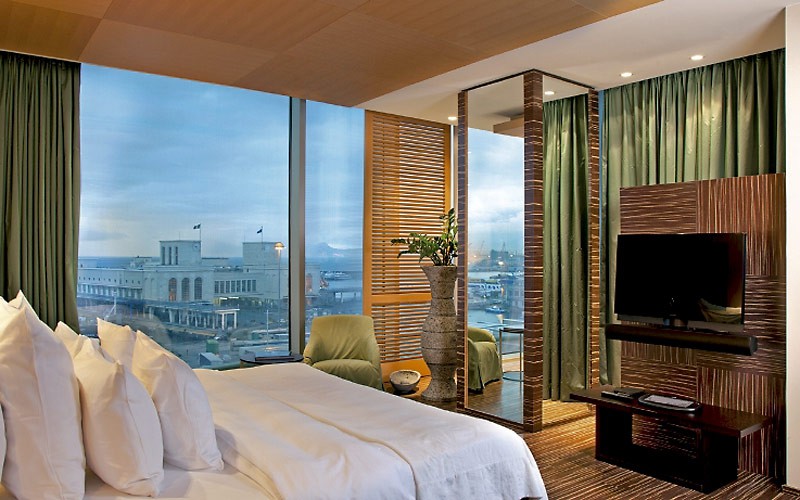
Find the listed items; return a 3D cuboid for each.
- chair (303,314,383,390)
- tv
[{"bbox_3d":[-0.595,1.165,6.279,1.018,0.917,0.858,1,-10,-7],"label":"chair"},{"bbox_3d":[2.526,0.289,4.822,1.050,0.770,0.139,2,-3,38],"label":"tv"}]
